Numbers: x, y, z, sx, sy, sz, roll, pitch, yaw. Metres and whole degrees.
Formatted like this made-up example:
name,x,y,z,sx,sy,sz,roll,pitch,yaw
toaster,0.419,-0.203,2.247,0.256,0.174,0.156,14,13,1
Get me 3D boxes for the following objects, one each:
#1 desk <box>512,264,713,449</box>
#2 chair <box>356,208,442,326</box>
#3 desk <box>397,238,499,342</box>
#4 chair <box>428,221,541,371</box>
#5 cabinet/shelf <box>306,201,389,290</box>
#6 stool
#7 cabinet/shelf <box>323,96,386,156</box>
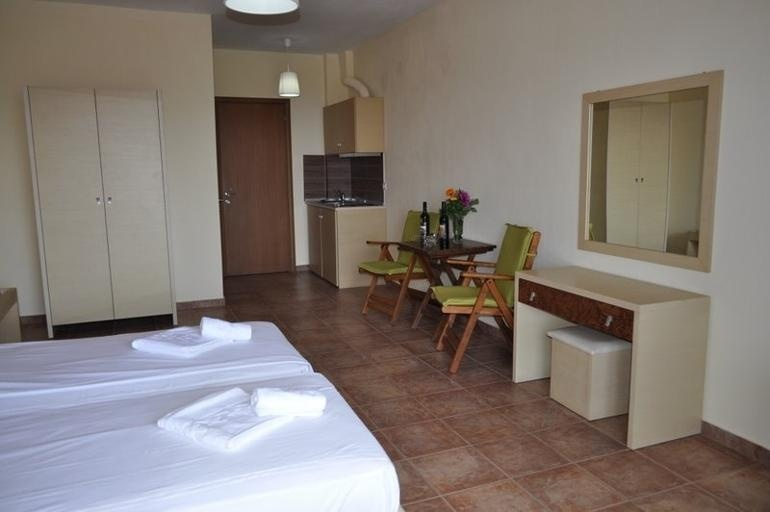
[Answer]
name,x,y,z,sx,sy,sz,roll,pitch,yaw
desk,1.896,0.753,4.504,0.900,1.076,1.539,-5,8,-21
chair,0.156,0.077,6.488,0.937,1.223,1.034,6,12,36
desk,0.625,0.220,6.019,0.806,0.885,0.889,24,-26,-3
chair,0.947,0.356,5.186,1.001,1.176,0.851,-4,12,0
cabinet/shelf,-0.662,-0.198,8.297,0.784,1.041,1.444,-3,5,-25
stool,1.594,0.870,4.339,0.614,0.689,0.703,-5,8,-22
cabinet/shelf,-0.636,-1.924,7.695,0.604,0.867,1.500,8,16,27
